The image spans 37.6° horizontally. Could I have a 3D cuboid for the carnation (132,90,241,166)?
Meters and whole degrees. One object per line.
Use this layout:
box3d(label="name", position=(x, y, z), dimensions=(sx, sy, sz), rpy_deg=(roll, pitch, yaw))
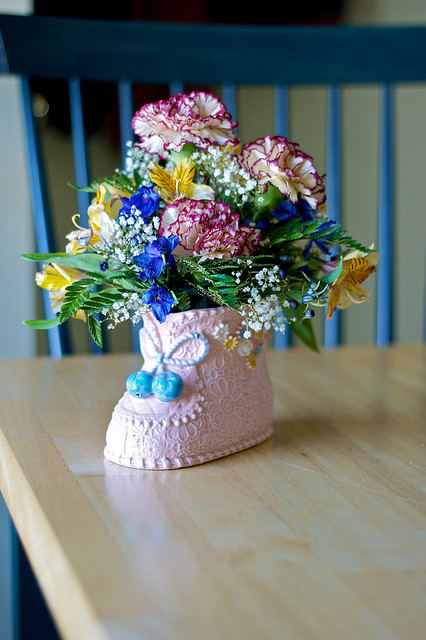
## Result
box3d(label="carnation", position=(-0.023, -0.170, 0.555), dimensions=(0.085, 0.063, 0.043), rpy_deg=(-12, 23, -37))

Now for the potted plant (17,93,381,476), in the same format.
box3d(label="potted plant", position=(-0.008, -0.033, 0.636), dimensions=(0.399, 0.326, 0.284), rpy_deg=(-4, 11, -15))
